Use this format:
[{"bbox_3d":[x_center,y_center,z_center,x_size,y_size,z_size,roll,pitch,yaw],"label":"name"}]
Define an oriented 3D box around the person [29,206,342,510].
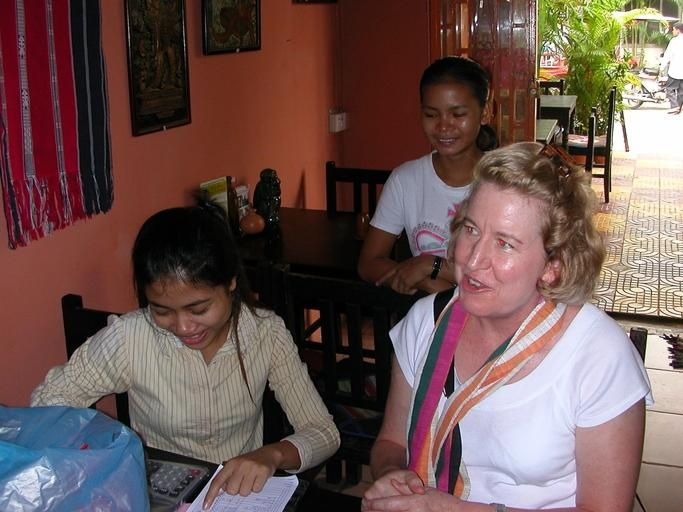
[{"bbox_3d":[-0.395,0.262,1.475,0.654,0.757,0.545,10,19,32],"label":"person"}]
